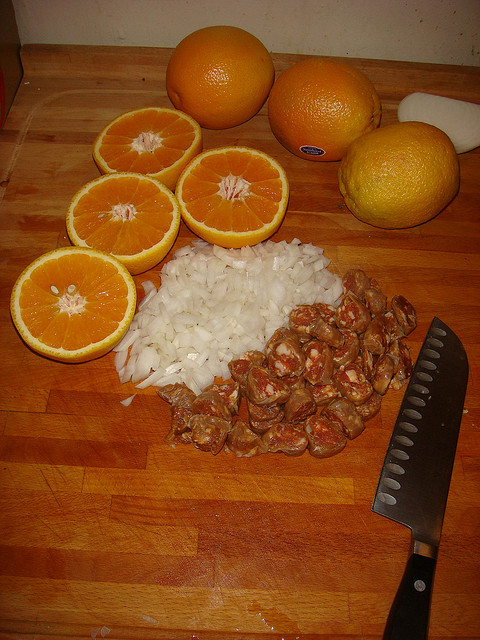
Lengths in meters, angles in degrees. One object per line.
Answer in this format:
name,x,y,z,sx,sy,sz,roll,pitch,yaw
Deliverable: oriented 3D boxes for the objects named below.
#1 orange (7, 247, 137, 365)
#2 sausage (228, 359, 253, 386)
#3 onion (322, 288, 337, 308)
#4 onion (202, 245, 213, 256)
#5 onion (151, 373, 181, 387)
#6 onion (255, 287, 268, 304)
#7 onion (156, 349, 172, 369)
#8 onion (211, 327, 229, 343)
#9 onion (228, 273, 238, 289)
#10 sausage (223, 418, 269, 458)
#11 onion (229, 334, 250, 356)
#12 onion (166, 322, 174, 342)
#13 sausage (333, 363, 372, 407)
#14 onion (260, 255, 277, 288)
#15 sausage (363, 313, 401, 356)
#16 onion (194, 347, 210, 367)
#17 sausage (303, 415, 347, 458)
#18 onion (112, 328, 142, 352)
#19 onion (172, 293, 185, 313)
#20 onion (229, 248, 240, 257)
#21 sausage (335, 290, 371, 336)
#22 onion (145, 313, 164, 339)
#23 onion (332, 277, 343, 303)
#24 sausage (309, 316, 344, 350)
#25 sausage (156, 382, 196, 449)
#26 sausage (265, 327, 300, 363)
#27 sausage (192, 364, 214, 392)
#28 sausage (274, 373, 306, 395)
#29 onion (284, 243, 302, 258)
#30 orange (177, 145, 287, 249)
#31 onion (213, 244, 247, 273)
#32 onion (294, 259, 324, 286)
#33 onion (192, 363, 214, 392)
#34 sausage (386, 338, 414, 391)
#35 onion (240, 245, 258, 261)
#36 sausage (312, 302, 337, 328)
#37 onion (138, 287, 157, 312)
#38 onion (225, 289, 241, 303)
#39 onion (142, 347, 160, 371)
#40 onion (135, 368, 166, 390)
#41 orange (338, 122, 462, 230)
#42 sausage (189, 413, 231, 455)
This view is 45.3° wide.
orange,-0.551,-0.056,1.880,0.375,0.182,0.365,21,49,17
sausage,-0.004,0.173,1.925,0.079,0.029,0.083,36,56,19
onion,0.323,-0.081,2.077,0.056,0.015,0.051,11,93,2
onion,-0.115,-0.249,2.133,0.044,0.010,0.039,2,39,-4
onion,-0.242,0.205,1.944,0.103,0.011,0.035,-16,80,-30
onion,0.075,-0.082,2.017,0.066,0.016,0.052,0,81,-2
onion,-0.258,0.135,1.978,0.065,0.020,0.056,6,65,-24
onion,-0.060,0.054,1.980,0.065,0.066,0.034,13,98,39
onion,-0.023,-0.134,2.022,0.045,0.016,0.053,5,92,4
sausage,0.014,0.383,1.781,0.126,0.092,0.090,33,54,26
onion,0.000,0.089,1.987,0.088,0.024,0.072,-9,90,-4
onion,-0.242,0.048,2.002,0.033,0.015,0.056,1,80,9
sausage,0.367,0.210,1.833,0.104,0.045,0.132,-36,67,3
onion,0.105,-0.163,2.033,0.072,0.024,0.092,3,85,-17
sausage,0.466,0.045,1.953,0.107,0.060,0.150,36,55,-17
onion,-0.126,0.126,1.974,0.039,0.014,0.065,28,83,-6
sausage,0.258,0.367,1.818,0.117,0.081,0.134,-18,50,-18
onion,-0.386,0.071,1.990,0.085,0.056,0.020,-47,115,-12
onion,-0.203,-0.059,2.010,0.052,0.022,0.057,1,75,-7
onion,-0.018,-0.242,2.084,0.024,0.015,0.054,-21,48,1
sausage,0.364,-0.021,1.888,0.120,0.043,0.132,-5,87,14
onion,-0.292,0.020,2.000,0.050,0.036,0.084,35,83,-5
onion,0.353,-0.107,2.076,0.051,0.018,0.069,5,103,-8
sausage,0.280,0.046,1.853,0.128,0.040,0.069,36,70,2
sausage,-0.194,0.295,1.814,0.141,0.041,0.174,23,62,-7
sausage,0.152,0.085,1.962,0.106,0.036,0.115,26,77,43
sausage,-0.126,0.194,1.955,0.063,0.036,0.077,-36,89,-9
sausage,0.172,0.202,1.854,0.065,0.024,0.068,11,20,1
onion,0.197,-0.249,2.091,0.056,0.019,0.050,-16,66,-33
orange,-0.025,-0.450,2.122,0.393,0.203,0.389,-3,46,-5
onion,-0.032,-0.217,2.055,0.102,0.030,0.101,24,20,-23
onion,0.243,-0.164,2.059,0.110,0.027,0.028,-43,28,0
onion,-0.127,0.196,1.954,0.077,0.032,0.084,0,69,-6
sausage,0.542,0.152,1.906,0.044,0.116,0.155,-1,75,47
onion,0.030,-0.239,2.071,0.053,0.017,0.050,-24,85,-9
sausage,0.303,-0.019,1.991,0.083,0.021,0.085,34,37,10
onion,-0.329,-0.073,2.079,0.052,0.022,0.083,37,92,35
onion,-0.021,-0.084,2.018,0.049,0.016,0.042,-2,63,0
onion,-0.307,0.131,1.957,0.021,0.072,0.065,-16,74,39
onion,-0.297,0.198,1.928,0.098,0.031,0.040,-37,73,-19
orange,0.510,-0.553,2.085,0.348,0.393,0.290,-17,67,3
sausage,-0.095,0.348,1.778,0.123,0.105,0.093,15,49,11
